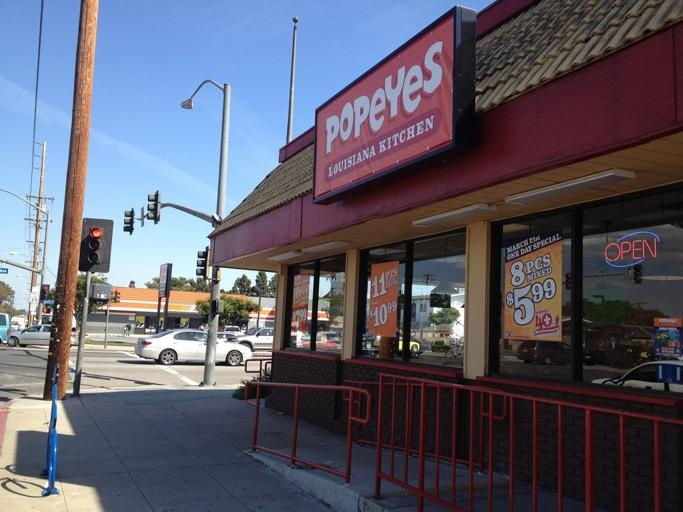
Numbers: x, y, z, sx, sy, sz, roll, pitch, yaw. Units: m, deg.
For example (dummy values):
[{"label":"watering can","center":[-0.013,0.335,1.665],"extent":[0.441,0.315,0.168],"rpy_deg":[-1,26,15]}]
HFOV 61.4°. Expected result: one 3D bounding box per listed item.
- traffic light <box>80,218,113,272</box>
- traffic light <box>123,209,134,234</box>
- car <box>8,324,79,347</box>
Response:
[{"label":"traffic light","center":[-6.197,-0.245,14.534],"extent":[0.708,1.371,0.457],"rpy_deg":[4,-14,-20]},{"label":"traffic light","center":[-7.712,-1.232,20.936],"extent":[0.312,0.957,1.063],"rpy_deg":[6,-10,-23]},{"label":"car","center":[-17.891,4.493,32.978],"extent":[2.080,1.373,4.499],"rpy_deg":[8,-11,-29]}]
